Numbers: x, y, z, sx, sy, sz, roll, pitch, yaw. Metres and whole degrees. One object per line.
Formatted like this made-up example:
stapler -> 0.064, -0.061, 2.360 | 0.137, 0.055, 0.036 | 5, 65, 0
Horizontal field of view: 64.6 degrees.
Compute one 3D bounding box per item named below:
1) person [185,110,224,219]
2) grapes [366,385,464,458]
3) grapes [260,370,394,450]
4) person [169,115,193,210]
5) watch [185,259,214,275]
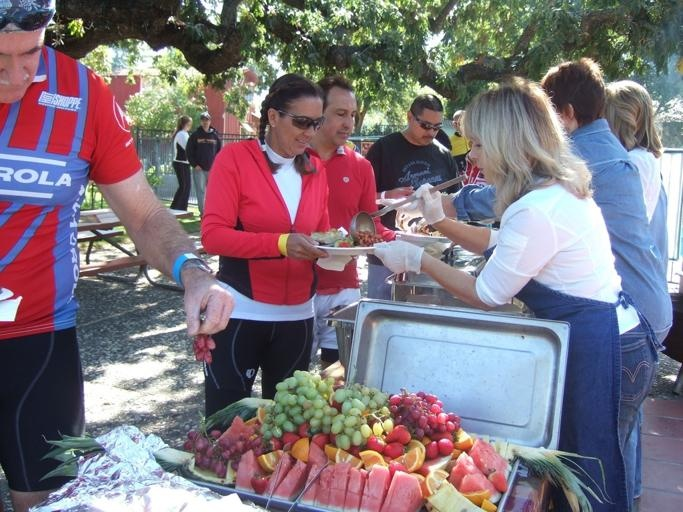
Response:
person -> -3.212, -2.061, 13.028 | 0.867, 2.661, 0.671 | -6, 5, -38
grapes -> 0.249, 0.573, 1.842 | 0.256, 0.208, 0.335 | 10, 16, 37
grapes -> -0.053, 0.525, 1.833 | 0.324, 0.196, 0.250 | 9, 46, 18
person -> -3.878, -2.235, 13.347 | 0.578, 2.757, 0.648 | -3, 16, -39
watch -> -0.514, 0.025, 1.972 | 0.059, 0.025, 0.081 | 15, 10, 4
